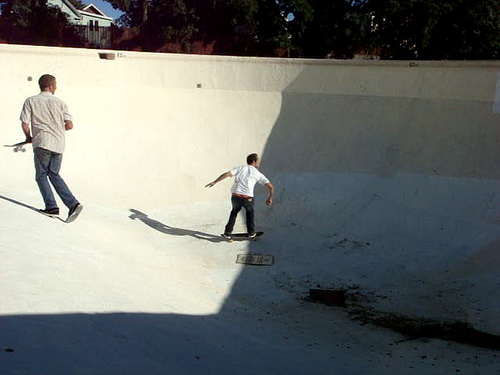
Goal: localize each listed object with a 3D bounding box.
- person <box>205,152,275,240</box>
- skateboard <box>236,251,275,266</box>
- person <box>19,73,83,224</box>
[{"bbox_3d":[-0.180,0.117,8.145,0.969,1.495,0.413,6,24,-3],"label":"person"},{"bbox_3d":[0.084,1.128,7.907,0.606,0.053,0.389,7,19,2],"label":"skateboard"},{"bbox_3d":[-2.848,-0.472,7.197,0.824,2.164,0.549,3,17,-6],"label":"person"}]
